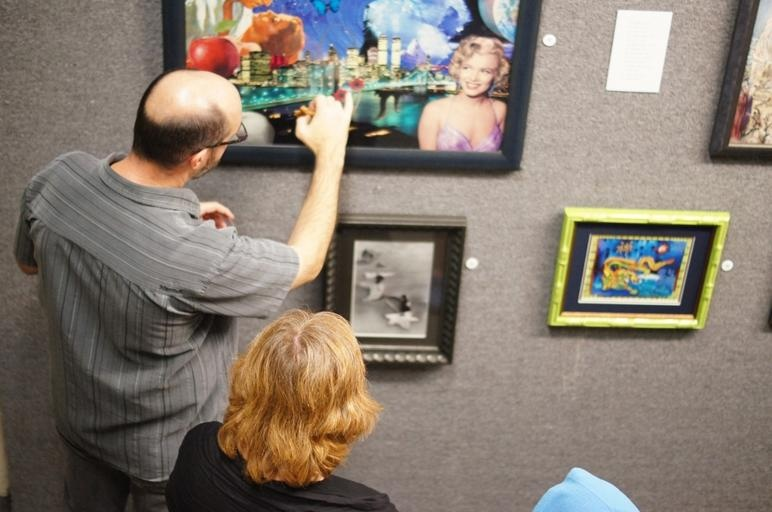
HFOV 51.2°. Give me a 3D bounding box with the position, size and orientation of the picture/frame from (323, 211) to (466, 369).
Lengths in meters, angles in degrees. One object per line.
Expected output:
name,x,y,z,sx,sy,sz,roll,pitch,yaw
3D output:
picture/frame,0.016,0.079,2.357,0.504,0.519,0.060,3,15,-2

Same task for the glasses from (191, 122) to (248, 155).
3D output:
glasses,-0.441,-0.308,2.158,0.115,0.032,0.106,-21,23,2

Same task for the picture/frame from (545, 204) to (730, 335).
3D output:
picture/frame,0.742,0.024,2.422,0.438,0.312,0.043,1,26,-2
